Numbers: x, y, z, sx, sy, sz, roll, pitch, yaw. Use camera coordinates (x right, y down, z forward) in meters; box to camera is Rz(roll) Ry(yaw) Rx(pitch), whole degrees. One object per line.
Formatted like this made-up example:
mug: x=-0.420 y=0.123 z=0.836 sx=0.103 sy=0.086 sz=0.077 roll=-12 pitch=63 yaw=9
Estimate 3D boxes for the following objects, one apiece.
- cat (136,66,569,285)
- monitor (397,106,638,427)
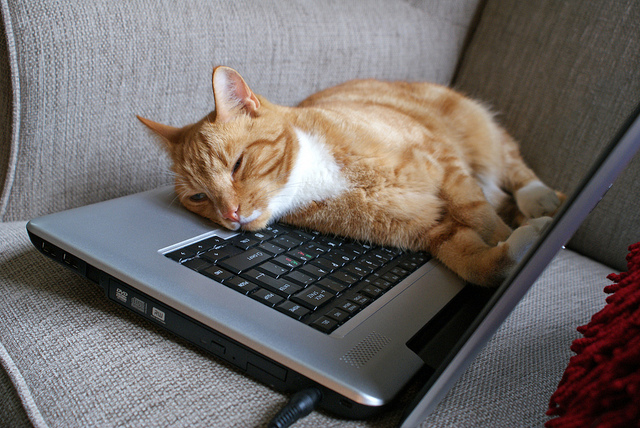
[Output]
cat: x=0.099 y=-0.109 z=1.221 sx=0.812 sy=0.491 sz=0.445 roll=-20 pitch=82 yaw=-37
monitor: x=0.371 y=0.105 z=0.989 sx=0.033 sy=0.622 sz=0.644 roll=45 pitch=29 yaw=13
